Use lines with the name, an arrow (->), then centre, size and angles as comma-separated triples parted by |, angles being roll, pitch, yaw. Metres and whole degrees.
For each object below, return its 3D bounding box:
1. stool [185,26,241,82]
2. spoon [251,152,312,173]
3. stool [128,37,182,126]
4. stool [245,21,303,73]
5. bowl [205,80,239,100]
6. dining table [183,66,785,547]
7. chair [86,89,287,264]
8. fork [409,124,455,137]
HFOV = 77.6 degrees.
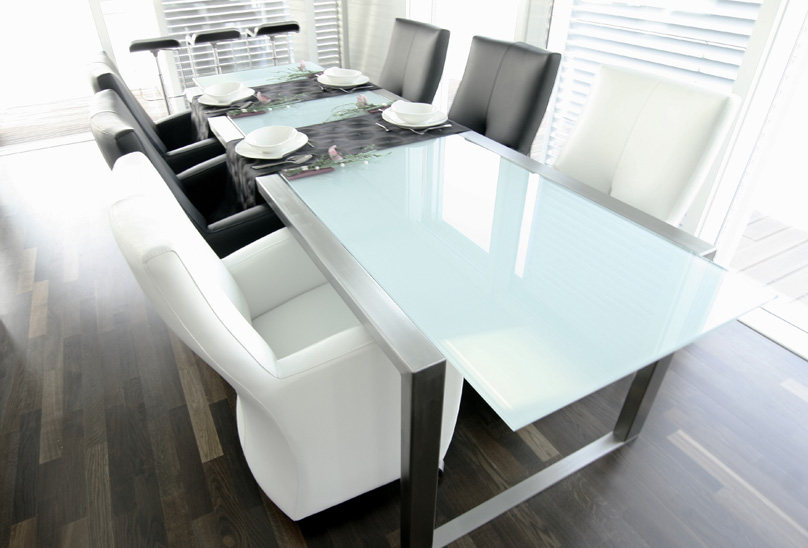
stool -> -1.647, -1.907, 4.449 | 0.427, 0.547, 0.213 | -20, 59, -25
spoon -> -0.565, -0.505, 2.306 | 0.229, 0.035, 0.056 | -16, 52, -12
stool -> -2.016, -1.584, 4.222 | 0.349, 0.665, 0.252 | -18, 26, -29
stool -> -1.168, -2.022, 4.526 | 0.384, 0.486, 0.313 | -8, 42, -19
bowl -> -1.053, -1.081, 2.976 | 0.183, 0.073, 0.180 | -3, 38, 3
dining table -> 0.316, 0.175, 2.182 | 1.284, 0.952, 1.503 | -19, 44, -24
chair -> -0.979, -0.471, 2.372 | 0.699, 0.891, 0.603 | -25, 57, -16
fork -> 0.131, -0.722, 2.550 | 0.176, 0.030, 0.045 | -14, 55, -15
